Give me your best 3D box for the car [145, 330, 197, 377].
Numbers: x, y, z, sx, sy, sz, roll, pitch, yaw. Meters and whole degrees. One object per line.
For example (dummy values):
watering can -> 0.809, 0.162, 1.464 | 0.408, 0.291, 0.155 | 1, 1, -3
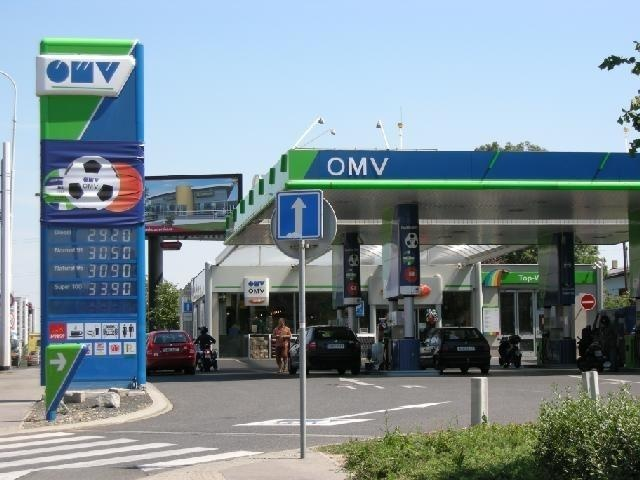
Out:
car -> -4.859, 3.581, 38.016 | 1.254, 1.440, 1.822 | -6, -10, 31

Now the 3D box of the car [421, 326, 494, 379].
car -> 4.509, 3.610, 37.693 | 1.881, 1.651, 2.333 | 2, -5, -4

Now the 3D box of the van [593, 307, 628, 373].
van -> 9.484, 3.312, 38.811 | 0.877, 2.265, 0.990 | -1, -1, 6

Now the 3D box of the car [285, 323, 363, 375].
car -> 0.226, 3.348, 36.502 | 1.639, 1.470, 3.617 | 0, -3, -10

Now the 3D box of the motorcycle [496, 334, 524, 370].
motorcycle -> 6.933, 4.101, 43.303 | 0.732, 1.214, 1.470 | -2, -8, 2
